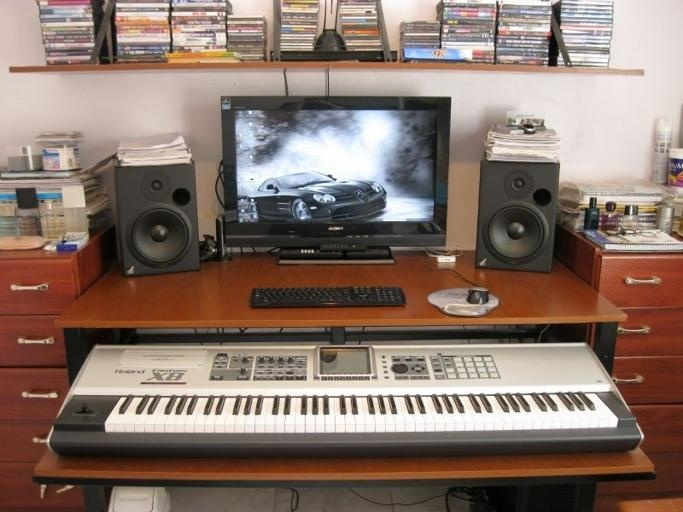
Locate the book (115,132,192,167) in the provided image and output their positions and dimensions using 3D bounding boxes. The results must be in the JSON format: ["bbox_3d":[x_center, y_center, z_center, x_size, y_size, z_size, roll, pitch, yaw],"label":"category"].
[{"bbox_3d":[-0.738,-0.416,2.217,0.260,0.101,0.270,-6,17,-17],"label":"book"}]

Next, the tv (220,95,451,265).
[{"bbox_3d":[-0.028,-0.326,2.278,0.945,0.468,0.213,0,12,-2],"label":"tv"}]

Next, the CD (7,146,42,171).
[{"bbox_3d":[-1.228,-0.370,2.225,0.152,0.095,0.129,-4,12,-27],"label":"CD"}]

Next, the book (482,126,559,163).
[{"bbox_3d":[0.694,-0.435,2.210,0.268,0.129,0.179,2,18,11],"label":"book"}]

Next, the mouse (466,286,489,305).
[{"bbox_3d":[0.453,0.129,1.891,0.073,0.033,0.059,0,12,-2],"label":"mouse"}]

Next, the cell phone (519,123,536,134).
[{"bbox_3d":[0.725,-0.503,2.221,0.063,0.022,0.067,2,28,1],"label":"cell phone"}]
